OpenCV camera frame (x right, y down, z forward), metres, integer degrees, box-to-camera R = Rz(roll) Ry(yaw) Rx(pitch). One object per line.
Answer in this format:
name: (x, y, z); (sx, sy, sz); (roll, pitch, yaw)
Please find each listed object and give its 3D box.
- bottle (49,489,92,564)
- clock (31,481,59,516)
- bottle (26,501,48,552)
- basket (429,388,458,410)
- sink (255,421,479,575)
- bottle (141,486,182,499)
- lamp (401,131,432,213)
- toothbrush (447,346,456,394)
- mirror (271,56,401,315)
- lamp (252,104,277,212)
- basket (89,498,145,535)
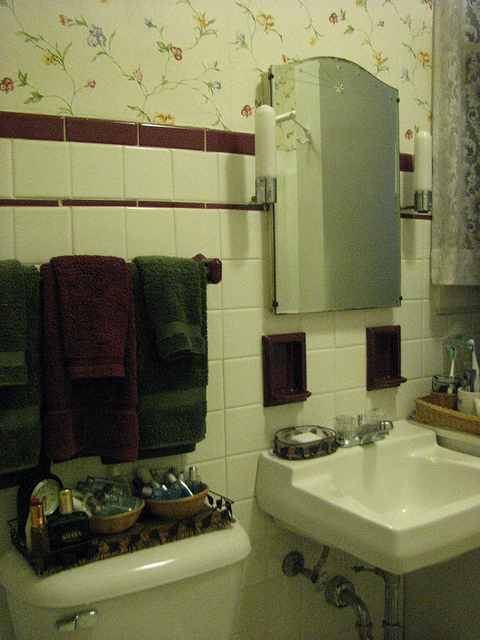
bottle: (-0.315, 0.384, 1.016); (0.071, 0.137, 0.036); (-6, -33, -20)
clock: (-0.370, 0.339, 1.054); (0.012, 0.058, 0.054); (-4, -5, 38)
bottle: (-0.355, 0.364, 0.970); (0.028, 0.089, 0.017); (-5, 4, -23)
basket: (0.636, 0.252, 1.727); (0.057, 0.045, 0.056); (6, -9, -29)
sink: (0.390, 0.419, 1.390); (0.556, 0.236, 0.475); (-6, 4, -30)
bottle: (-0.170, 0.371, 1.188); (0.084, 0.022, 0.023); (-4, 4, 4)
lamp: (0.564, -0.454, 1.697); (0.053, 0.241, 0.043); (-3, 4, 2)
toothbrush: (0.660, 0.155, 1.714); (0.031, 0.147, 0.020); (-7, 5, -42)
mirror: (0.285, -0.382, 1.564); (0.446, 0.713, 0.020); (-4, 4, -24)
lamp: (0.056, -0.399, 1.340); (0.066, 0.226, 0.042); (-2, 4, 23)
basket: (-0.237, 0.402, 1.115); (0.134, 0.052, 0.053); (-8, 5, -43)
